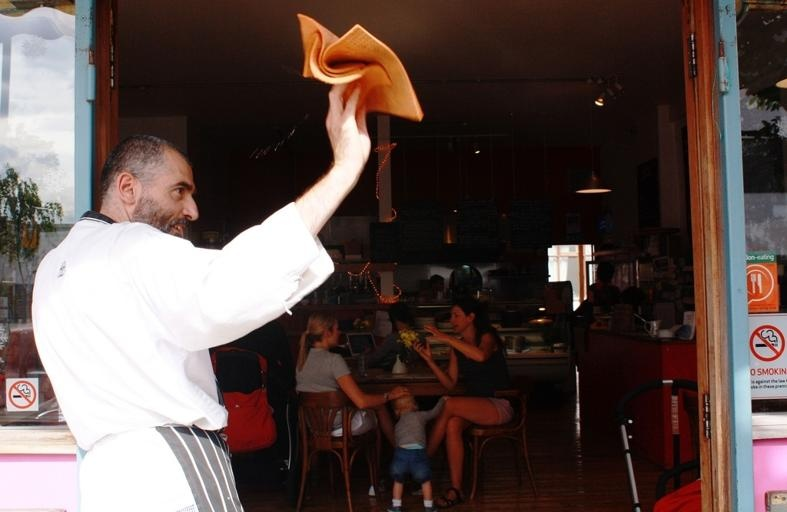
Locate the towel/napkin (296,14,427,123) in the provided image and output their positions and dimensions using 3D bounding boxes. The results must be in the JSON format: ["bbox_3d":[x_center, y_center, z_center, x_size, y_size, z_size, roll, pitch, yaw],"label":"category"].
[{"bbox_3d":[-0.118,-0.761,3.141,0.427,0.227,0.429,8,-6,1],"label":"towel/napkin"}]

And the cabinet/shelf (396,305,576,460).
[{"bbox_3d":[0.739,1.385,7.032,1.183,2.048,1.042,8,-33,-6],"label":"cabinet/shelf"}]

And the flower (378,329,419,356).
[{"bbox_3d":[0.045,0.764,7.096,0.205,0.198,0.113,30,24,-26],"label":"flower"}]

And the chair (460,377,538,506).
[{"bbox_3d":[0.817,1.507,6.623,0.699,0.991,0.822,0,-7,-2],"label":"chair"}]

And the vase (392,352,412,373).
[{"bbox_3d":[0.067,0.884,6.681,0.130,0.144,0.131,0,5,1],"label":"vase"}]

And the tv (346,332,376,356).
[{"bbox_3d":[-0.308,0.827,7.745,0.252,0.162,0.183,4,-22,-20],"label":"tv"}]

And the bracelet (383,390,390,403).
[{"bbox_3d":[-0.052,1.053,6.051,0.047,0.070,0.063,1,-30,-3],"label":"bracelet"}]

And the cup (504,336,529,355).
[{"bbox_3d":[1.328,0.965,8.895,0.204,0.192,0.202,0,1,0],"label":"cup"}]

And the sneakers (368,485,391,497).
[{"bbox_3d":[-0.107,1.780,6.153,0.153,0.095,0.071,0,1,-6],"label":"sneakers"}]

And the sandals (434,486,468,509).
[{"bbox_3d":[0.404,1.781,5.985,0.200,0.086,0.104,4,-7,-31],"label":"sandals"}]

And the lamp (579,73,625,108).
[{"bbox_3d":[2.311,-1.853,9.057,0.386,0.167,0.417,2,-7,1],"label":"lamp"}]
